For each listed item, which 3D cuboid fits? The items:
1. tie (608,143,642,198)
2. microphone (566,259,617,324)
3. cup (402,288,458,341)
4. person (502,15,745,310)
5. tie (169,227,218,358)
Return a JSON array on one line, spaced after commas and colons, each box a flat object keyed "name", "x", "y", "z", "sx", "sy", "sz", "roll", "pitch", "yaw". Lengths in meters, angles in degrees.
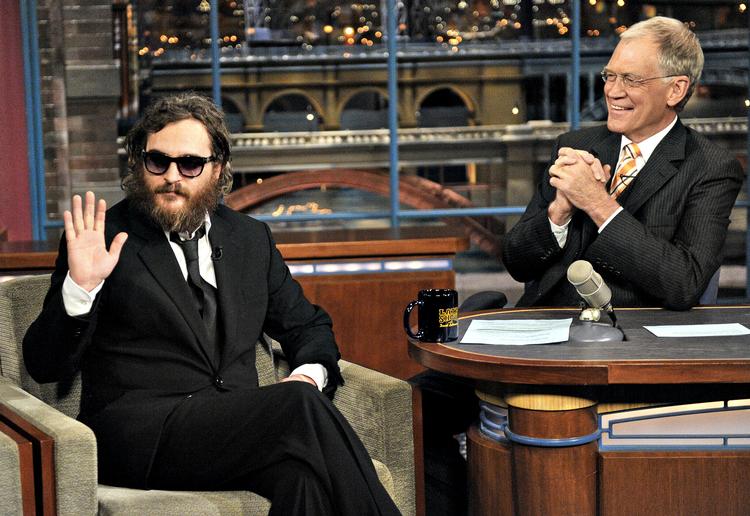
[{"name": "tie", "x": 1.105, "y": -0.381, "z": 4.234, "sx": 0.085, "sy": 0.088, "sz": 0.338, "roll": 19, "pitch": 58, "yaw": 22}, {"name": "microphone", "x": 0.862, "y": 0.134, "z": 3.768, "sx": 0.115, "sy": 0.236, "sz": 0.080, "roll": -12, "pitch": 43, "yaw": 28}, {"name": "cup", "x": 0.207, "y": 0.226, "z": 3.647, "sx": 0.235, "sy": 0.188, "sz": 0.149, "roll": -9, "pitch": 10, "yaw": -39}, {"name": "person", "x": 1.077, "y": -0.388, "z": 4.117, "sx": 0.989, "sy": 1.226, "sz": 0.602, "roll": 0, "pitch": 11, "yaw": 7}, {"name": "tie", "x": -0.673, "y": 0.134, "z": 3.625, "sx": 0.246, "sy": 0.435, "sz": 0.101, "roll": -8, "pitch": -1, "yaw": -11}]
